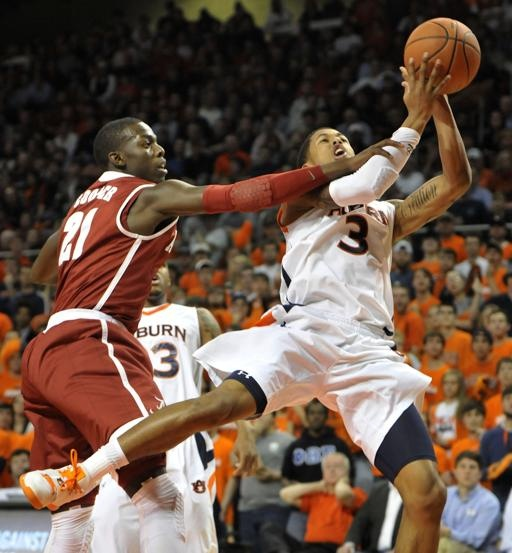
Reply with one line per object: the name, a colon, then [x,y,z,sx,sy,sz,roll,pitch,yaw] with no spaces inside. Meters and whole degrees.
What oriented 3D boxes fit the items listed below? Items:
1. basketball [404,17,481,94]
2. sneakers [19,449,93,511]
basketball: [0.873,-1.073,3.548,0.502,0.355,0.405,3,7,4]
sneakers: [-0.801,0.865,3.005,0.333,0.169,0.146,-17,-10,-47]
